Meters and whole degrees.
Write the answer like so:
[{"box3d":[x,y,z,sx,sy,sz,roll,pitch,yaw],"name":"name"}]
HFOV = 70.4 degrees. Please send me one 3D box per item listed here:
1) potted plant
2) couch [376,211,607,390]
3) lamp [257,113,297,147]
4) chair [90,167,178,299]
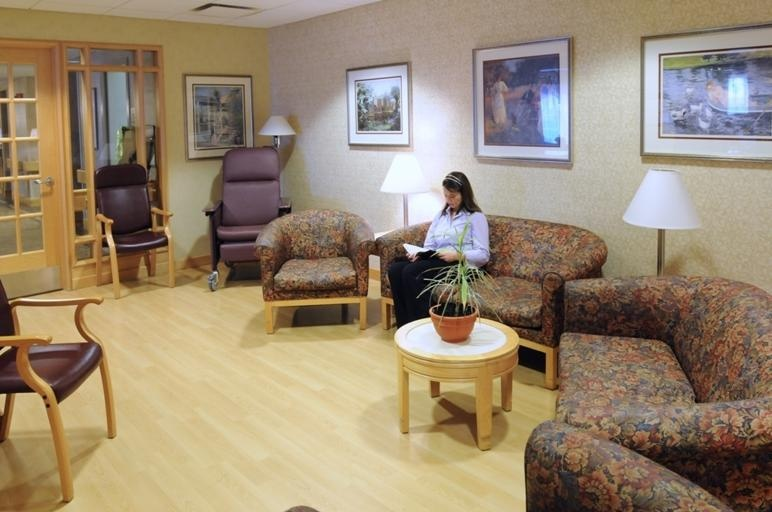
[{"box3d":[0.472,0.147,3.526,0.482,0.772,0.501,9,2,38],"name":"potted plant"},{"box3d":[0.947,0.220,4.598,1.121,0.982,1.930,-13,18,-39],"name":"couch"},{"box3d":[-1.340,-1.550,6.808,0.419,0.405,0.581,-4,14,-8],"name":"lamp"},{"box3d":[-2.802,-0.284,6.001,0.900,1.254,0.864,10,17,16],"name":"chair"}]
